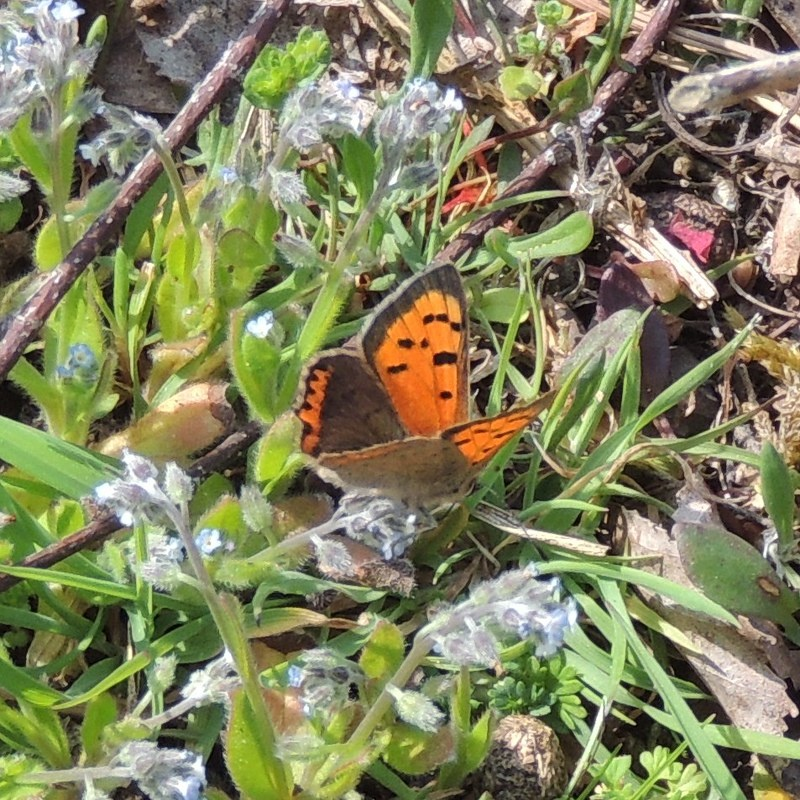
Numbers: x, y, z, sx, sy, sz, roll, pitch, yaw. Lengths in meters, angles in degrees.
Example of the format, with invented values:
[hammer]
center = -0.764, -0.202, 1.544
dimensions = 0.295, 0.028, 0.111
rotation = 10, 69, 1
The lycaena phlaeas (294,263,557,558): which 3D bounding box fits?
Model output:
[lycaena phlaeas]
center = 0.005, 0.031, 1.688
dimensions = 0.419, 0.525, 0.396
rotation = 7, 60, -9
